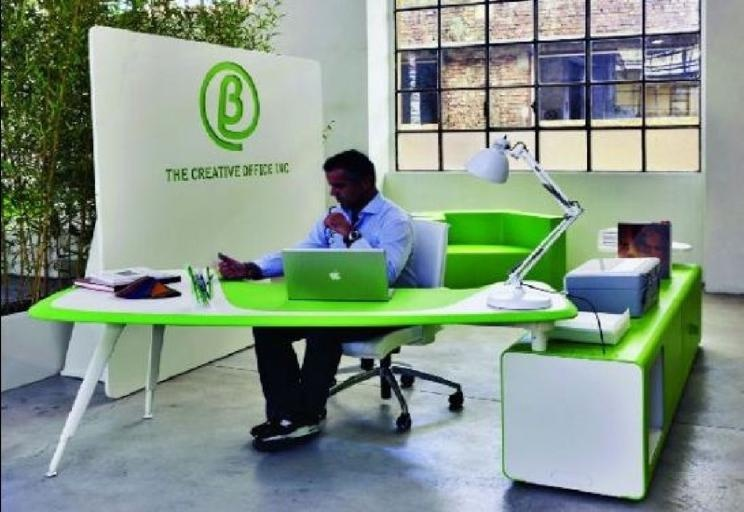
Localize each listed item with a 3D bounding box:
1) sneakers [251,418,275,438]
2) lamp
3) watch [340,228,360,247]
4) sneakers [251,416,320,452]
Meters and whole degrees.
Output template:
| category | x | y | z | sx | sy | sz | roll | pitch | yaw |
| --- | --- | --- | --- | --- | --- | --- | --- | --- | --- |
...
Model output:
| category | x | y | z | sx | sy | sz | roll | pitch | yaw |
| --- | --- | --- | --- | --- | --- | --- | --- | --- | --- |
| sneakers | -0.612 | 0.964 | 3.508 | 0.090 | 0.045 | 0.146 | 1 | 13 | 20 |
| lamp | 0.831 | -0.218 | 3.388 | 0.555 | 0.893 | 1.171 | 2 | 13 | 14 |
| watch | -0.146 | -0.125 | 3.615 | 0.108 | 0.070 | 0.111 | -9 | -28 | -49 |
| sneakers | -0.476 | 1.006 | 3.548 | 0.306 | 0.116 | 0.173 | -8 | 3 | -42 |
